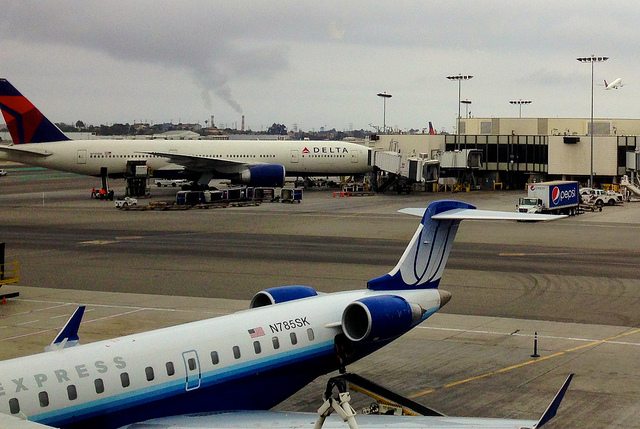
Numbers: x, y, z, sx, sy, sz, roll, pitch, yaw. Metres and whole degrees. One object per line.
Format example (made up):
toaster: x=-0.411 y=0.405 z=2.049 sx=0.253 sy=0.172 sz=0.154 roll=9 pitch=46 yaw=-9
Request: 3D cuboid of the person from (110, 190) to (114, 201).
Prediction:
person: x=-20.738 y=-1.940 z=86.508 sx=0.277 sy=0.784 sz=0.894 roll=-1 pitch=4 yaw=-16

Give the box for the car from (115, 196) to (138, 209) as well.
car: x=-17.385 y=-1.121 z=78.265 sx=1.751 sy=0.845 sz=1.016 roll=-8 pitch=13 yaw=-27

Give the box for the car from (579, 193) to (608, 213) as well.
car: x=25.856 y=-1.081 z=83.134 sx=1.891 sy=1.250 sz=2.895 roll=6 pitch=10 yaw=44

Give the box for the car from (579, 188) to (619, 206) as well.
car: x=27.358 y=-1.735 z=85.349 sx=3.612 sy=1.154 sz=1.608 roll=0 pitch=8 yaw=3

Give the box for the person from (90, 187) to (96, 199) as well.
person: x=-24.088 y=-2.278 z=92.247 sx=0.632 sy=1.759 sz=0.709 roll=-1 pitch=37 yaw=-26

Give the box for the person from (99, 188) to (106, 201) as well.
person: x=-21.741 y=-2.044 z=86.730 sx=0.668 sy=0.981 sz=0.412 roll=6 pitch=-3 yaw=26

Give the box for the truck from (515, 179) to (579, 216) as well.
truck: x=19.623 y=-1.486 z=73.947 sx=7.780 sy=2.961 sz=2.434 roll=-9 pitch=12 yaw=-37
